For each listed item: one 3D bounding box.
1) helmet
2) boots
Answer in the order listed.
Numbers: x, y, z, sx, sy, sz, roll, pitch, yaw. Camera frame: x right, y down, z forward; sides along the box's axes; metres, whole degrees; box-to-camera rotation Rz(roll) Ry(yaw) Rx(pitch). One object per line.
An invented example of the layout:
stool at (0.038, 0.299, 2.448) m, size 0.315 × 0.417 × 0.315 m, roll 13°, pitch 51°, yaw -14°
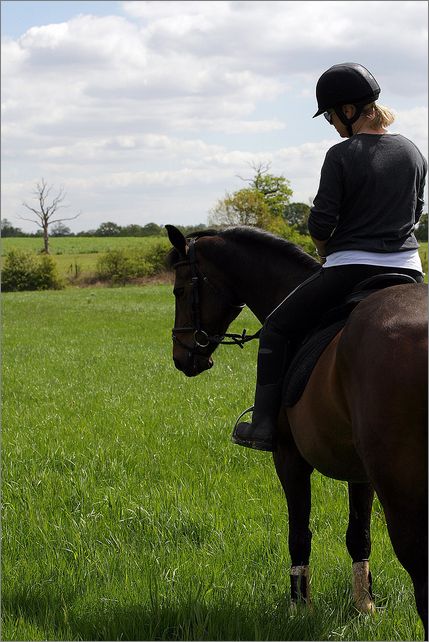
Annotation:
helmet at (0.661, -1.192, 3.595) m, size 0.381 × 0.270 × 0.294 m, roll -4°, pitch 21°, yaw 31°
boots at (0.252, 0.505, 3.767) m, size 0.188 × 0.388 × 0.388 m, roll 12°, pitch -14°, yaw -21°
